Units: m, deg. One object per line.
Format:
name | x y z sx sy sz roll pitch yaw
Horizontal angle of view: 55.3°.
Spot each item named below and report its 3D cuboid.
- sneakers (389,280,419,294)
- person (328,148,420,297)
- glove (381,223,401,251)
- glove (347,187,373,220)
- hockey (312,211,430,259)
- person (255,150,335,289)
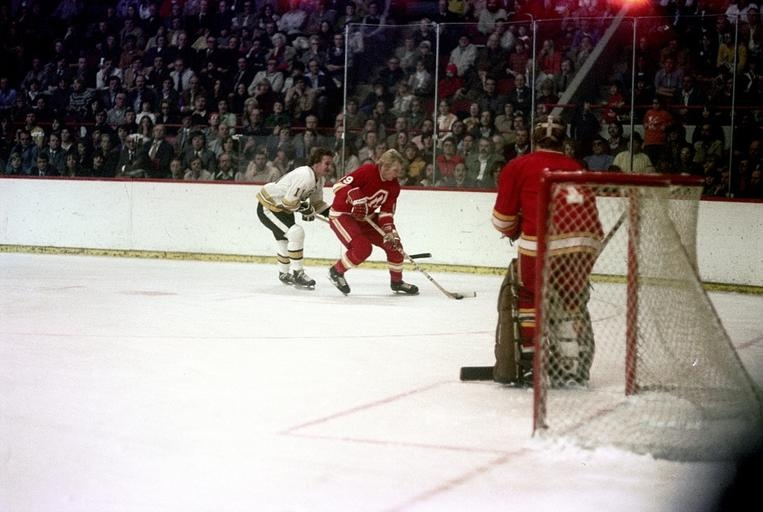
sneakers | 0.233 0.318 7.660 0.243 0.100 0.131 0 9 5
person | -0.058 -0.379 7.734 1.028 1.558 0.848 1 12 -16
glove | 0.096 -0.203 7.650 0.174 0.075 0.275 -3 43 -13
glove | -0.234 -0.549 7.547 0.212 0.304 0.291 0 4 -1
hockey | -0.047 -0.261 8.310 1.055 0.116 0.165 27 17 -25
person | -0.973 -0.408 7.933 1.004 1.504 0.388 3 4 30
